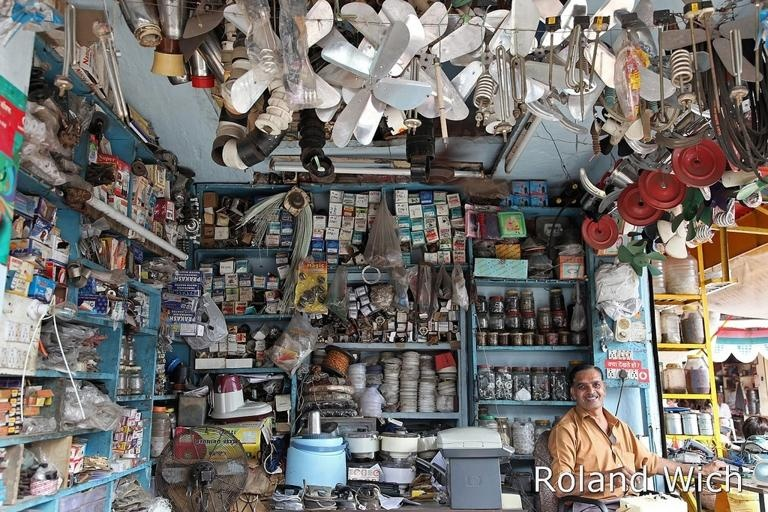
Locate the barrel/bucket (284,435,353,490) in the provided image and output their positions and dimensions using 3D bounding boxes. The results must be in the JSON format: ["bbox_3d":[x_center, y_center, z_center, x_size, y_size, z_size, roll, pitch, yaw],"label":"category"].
[{"bbox_3d":[-0.512,1.492,4.404,0.376,0.380,0.365,0,81,-2],"label":"barrel/bucket"}]
